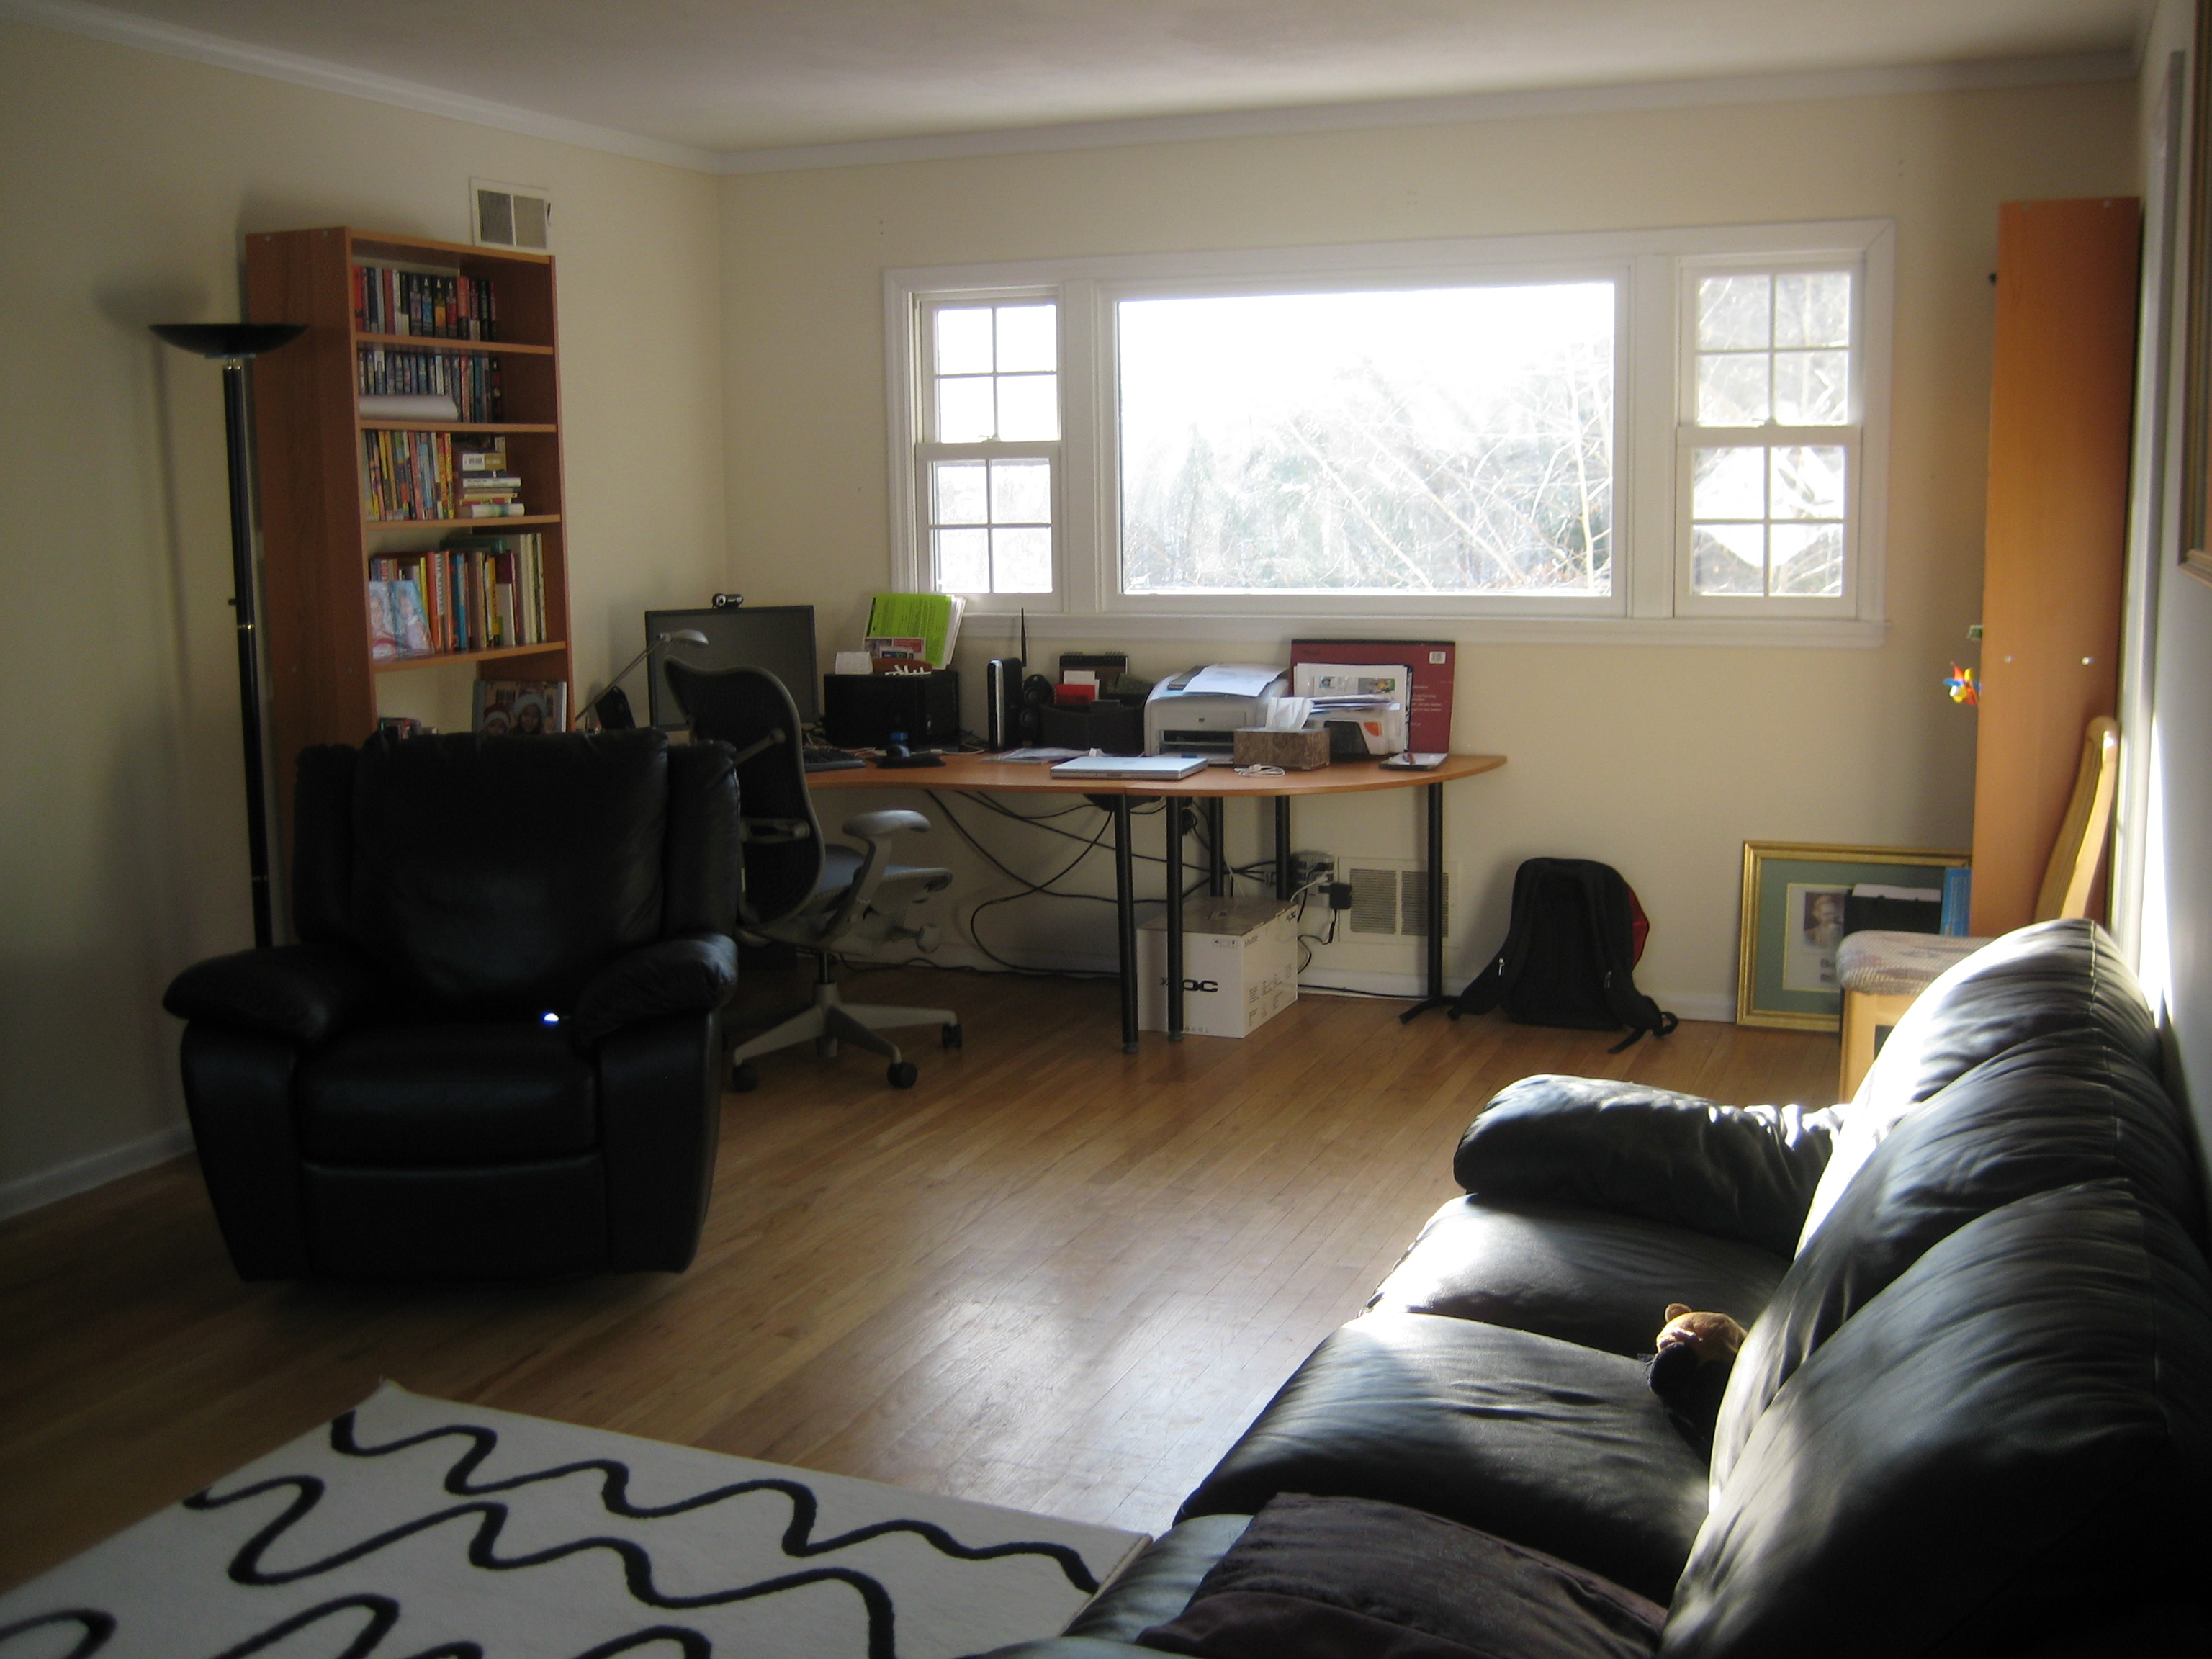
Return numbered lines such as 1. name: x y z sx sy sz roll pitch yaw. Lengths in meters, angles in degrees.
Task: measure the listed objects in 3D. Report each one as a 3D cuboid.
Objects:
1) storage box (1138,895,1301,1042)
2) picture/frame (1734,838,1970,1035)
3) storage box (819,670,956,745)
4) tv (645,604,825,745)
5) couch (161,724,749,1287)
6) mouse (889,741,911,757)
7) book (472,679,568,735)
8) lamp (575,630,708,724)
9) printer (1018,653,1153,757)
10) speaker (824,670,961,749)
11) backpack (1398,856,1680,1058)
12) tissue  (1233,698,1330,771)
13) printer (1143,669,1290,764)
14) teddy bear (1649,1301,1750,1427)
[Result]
1. storage box: 0.374 0.332 5.685 0.397 0.343 0.731 2 8 19
2. picture/frame: 2.193 0.283 4.828 0.639 0.596 0.047 3 12 21
3. storage box: -0.759 -0.459 5.850 0.314 0.189 0.318 3 7 20
4. tv: -1.230 -0.517 5.418 0.584 0.416 0.041 -1 3 -12
5. couch: -1.383 0.411 4.143 1.538 1.609 1.196 -1 -1 -3
6. mouse: -0.717 -0.281 5.760 0.053 0.063 0.056 4 9 20
7. book: -1.831 -0.383 5.164 0.207 0.141 0.028 5 7 21
8. lamp: -1.594 -0.529 5.639 0.360 0.148 0.356 -5 -19 -29
9. printer: -0.061 -0.442 5.919 0.406 0.251 0.382 4 12 16
10. speaker: -0.770 -0.430 5.828 0.327 0.199 0.326 3 7 20
11. backpack: 1.553 0.439 5.580 0.521 0.614 0.247 6 -7 23
12. tissue : 0.600 -0.313 5.535 0.272 0.187 0.256 3 10 15
13. printer: 0.357 -0.415 5.713 0.297 0.207 0.405 3 14 16
14. teddy bear: 0.821 0.734 2.294 0.081 0.150 0.106 -2 -34 44
